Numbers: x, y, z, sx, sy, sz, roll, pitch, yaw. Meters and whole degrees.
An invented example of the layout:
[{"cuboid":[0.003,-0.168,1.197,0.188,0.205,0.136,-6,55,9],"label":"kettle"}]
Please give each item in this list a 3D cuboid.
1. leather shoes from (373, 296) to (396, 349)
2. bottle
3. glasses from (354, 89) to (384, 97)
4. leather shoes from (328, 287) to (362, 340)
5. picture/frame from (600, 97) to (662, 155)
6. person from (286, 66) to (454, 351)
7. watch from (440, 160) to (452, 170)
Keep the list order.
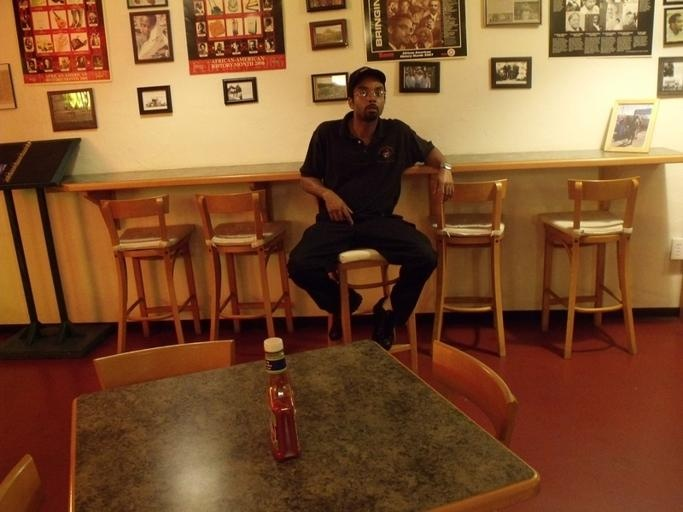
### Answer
[{"cuboid":[0.258,0.396,3.369,0.108,0.340,0.138,-2,0,-5],"label":"leather shoes"},{"cuboid":[-0.173,0.354,1.527,0.079,0.317,0.261,-5,15,-7],"label":"bottle"},{"cuboid":[0.178,-1.021,3.392,0.179,0.061,0.075,-4,15,-3],"label":"glasses"},{"cuboid":[0.014,0.360,3.469,0.130,0.292,0.406,2,22,11],"label":"leather shoes"},{"cuboid":[2.032,-0.921,3.821,0.350,0.470,0.033,12,-6,14],"label":"picture/frame"},{"cuboid":[0.194,-0.304,3.476,0.988,1.711,0.880,1,12,-2],"label":"person"},{"cuboid":[0.667,-0.584,3.495,0.059,0.039,0.082,-3,30,-9],"label":"watch"}]
